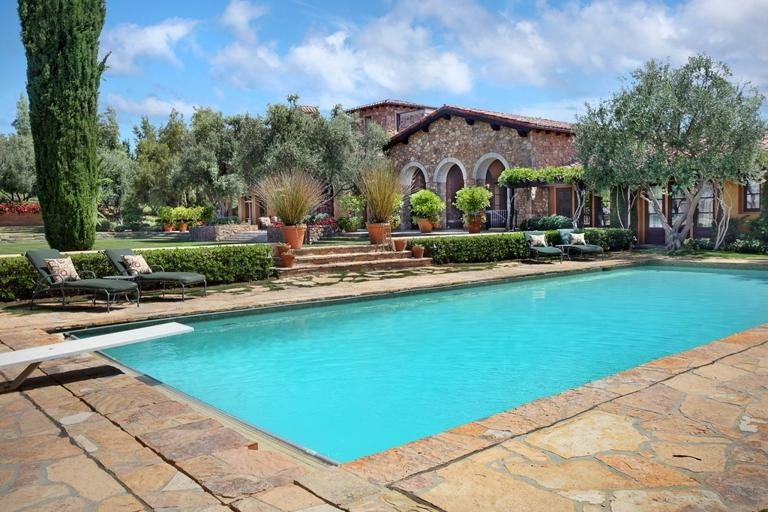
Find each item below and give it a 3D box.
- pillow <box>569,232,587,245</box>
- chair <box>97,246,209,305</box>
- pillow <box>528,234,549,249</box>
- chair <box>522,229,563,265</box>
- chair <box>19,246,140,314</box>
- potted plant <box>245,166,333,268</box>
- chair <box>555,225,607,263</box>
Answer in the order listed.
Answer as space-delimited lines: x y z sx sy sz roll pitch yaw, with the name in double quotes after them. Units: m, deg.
6.815 -0.681 15.962 0.495 0.364 0.361 2 7 12 "pillow"
-4.799 0.329 9.478 1.868 0.846 0.847 4 5 9 "chair"
5.162 -0.609 15.336 0.627 0.391 0.306 -2 7 -17 "pillow"
5.341 -0.419 15.467 0.962 0.832 1.431 -2 4 -17 "chair"
-5.712 0.391 8.508 1.925 0.848 0.838 5 5 13 "chair"
-3.142 -1.447 15.060 3.170 3.622 3.118 2 3 30 "potted plant"
7.014 -0.453 16.128 1.245 1.116 1.816 -3 2 -20 "chair"
